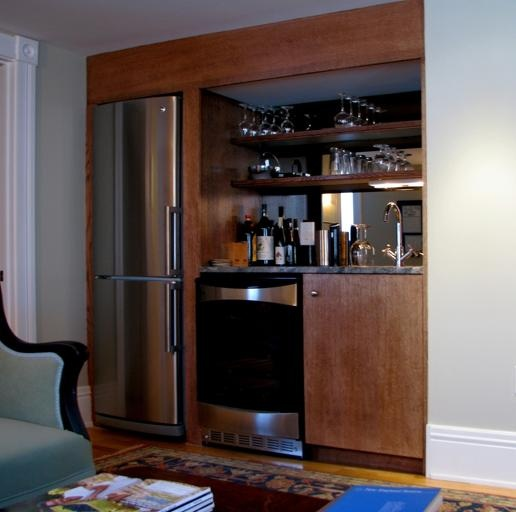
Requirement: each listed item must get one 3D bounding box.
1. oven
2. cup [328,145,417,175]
[{"bbox_3d":[0.154,0.630,3.190,0.734,0.924,0.762,-5,-6,42],"label":"oven"},{"bbox_3d":[0.632,-0.538,3.065,0.357,0.108,0.246,1,8,14],"label":"cup"}]
